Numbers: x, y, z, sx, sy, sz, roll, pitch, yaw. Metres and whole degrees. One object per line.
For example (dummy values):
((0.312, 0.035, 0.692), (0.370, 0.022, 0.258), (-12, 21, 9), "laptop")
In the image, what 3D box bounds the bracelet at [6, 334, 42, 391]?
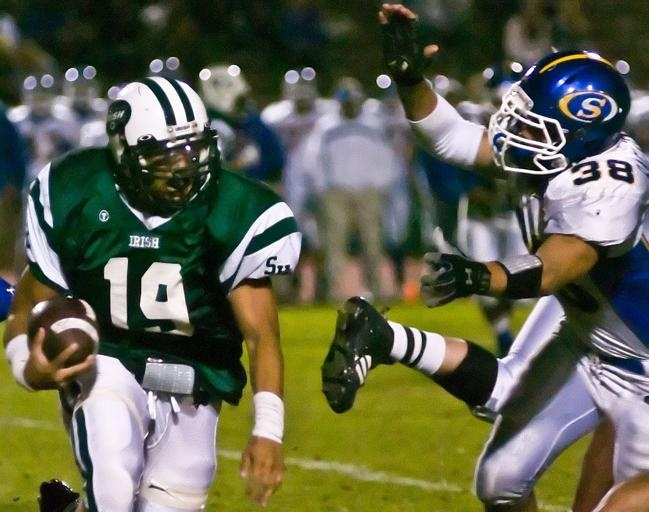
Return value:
((-1.012, 0.344, 3.108), (0.098, 0.082, 0.195), (-10, 48, -7), "bracelet")

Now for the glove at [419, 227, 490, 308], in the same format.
((0.421, 0.086, 3.004), (0.233, 0.186, 0.101), (4, 7, 32), "glove")

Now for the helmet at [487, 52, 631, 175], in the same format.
((0.801, -0.494, 3.250), (0.377, 0.526, 0.346), (-5, 16, -15), "helmet")

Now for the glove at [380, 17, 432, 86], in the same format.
((0.300, -0.722, 3.398), (0.257, 0.252, 0.129), (-4, 8, -40), "glove")

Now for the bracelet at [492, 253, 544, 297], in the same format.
((0.614, 0.065, 2.992), (0.141, 0.120, 0.150), (-2, 57, -5), "bracelet")

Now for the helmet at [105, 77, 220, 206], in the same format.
((-0.576, -0.410, 3.213), (0.325, 0.378, 0.422), (-10, 43, -35), "helmet")

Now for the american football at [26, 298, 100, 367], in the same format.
((-0.829, 0.238, 3.045), (0.214, 0.260, 0.211), (-2, 42, 0), "american football")
